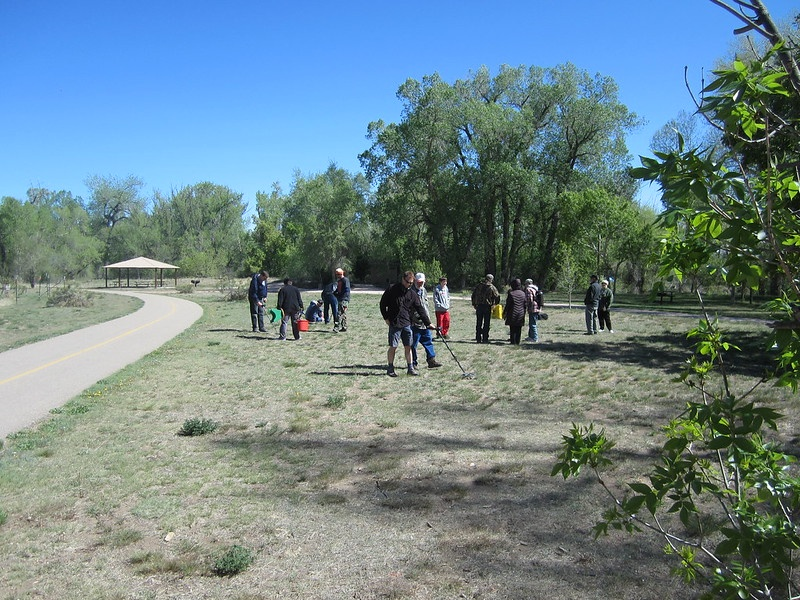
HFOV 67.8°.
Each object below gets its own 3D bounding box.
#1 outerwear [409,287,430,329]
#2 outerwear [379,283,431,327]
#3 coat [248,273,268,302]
[{"bbox_3d":[0.429,0.189,13.949,0.357,0.768,0.967,21,-2,13],"label":"outerwear"},{"bbox_3d":[0.150,0.112,13.264,1.033,0.937,0.517,6,7,29],"label":"outerwear"},{"bbox_3d":[-5.090,-0.440,21.315,0.545,1.018,1.229,-2,3,-18],"label":"coat"}]
